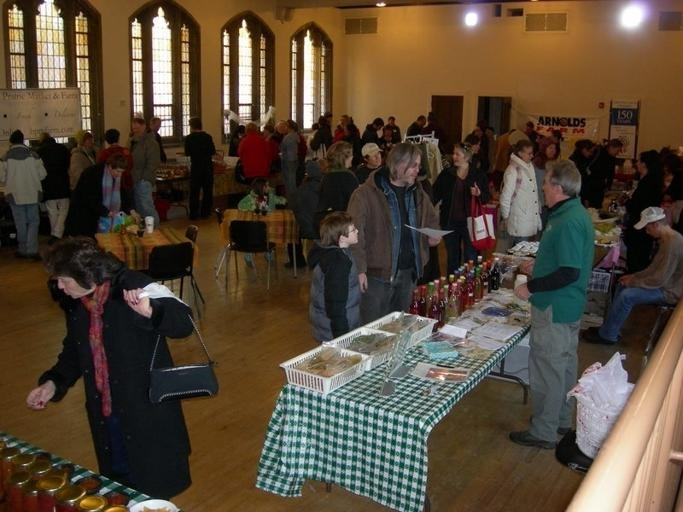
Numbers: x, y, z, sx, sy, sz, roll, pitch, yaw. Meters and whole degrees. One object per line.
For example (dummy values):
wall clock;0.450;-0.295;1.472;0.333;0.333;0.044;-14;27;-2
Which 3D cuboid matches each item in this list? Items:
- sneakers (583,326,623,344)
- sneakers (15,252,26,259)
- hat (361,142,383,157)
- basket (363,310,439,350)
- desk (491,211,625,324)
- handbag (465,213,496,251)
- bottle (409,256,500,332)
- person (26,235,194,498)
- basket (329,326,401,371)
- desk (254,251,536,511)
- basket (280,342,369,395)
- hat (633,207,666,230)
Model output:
sneakers;2.742;0.856;5.536;0.458;0.222;0.180;-1;3;23
sneakers;-4.886;-0.003;7.978;0.082;0.046;0.120;3;-7;-13
hat;0.274;-1.125;5.654;0.139;0.093;0.192;-27;18;-23
basket;0.416;0.445;3.346;0.218;0.069;0.375;10;14;34
desk;2.613;0.405;6.127;1.055;1.041;2.057;7;29;22
handbag;1.536;-0.276;5.892;0.311;0.705;0.255;-1;16;13
bottle;0.919;0.144;4.178;0.303;0.454;1.353;11;21;33
person;-1.033;0.502;2.311;0.623;1.205;0.305;2;15;16
basket;0.161;0.512;3.072;0.195;0.081;0.289;16;22;29
desk;0.267;0.836;2.912;0.838;0.685;1.375;10;21;38
basket;-0.059;0.584;2.747;0.236;0.095;0.282;13;22;36
hat;3.006;-0.380;5.183;0.295;0.179;0.207;-22;14;33
